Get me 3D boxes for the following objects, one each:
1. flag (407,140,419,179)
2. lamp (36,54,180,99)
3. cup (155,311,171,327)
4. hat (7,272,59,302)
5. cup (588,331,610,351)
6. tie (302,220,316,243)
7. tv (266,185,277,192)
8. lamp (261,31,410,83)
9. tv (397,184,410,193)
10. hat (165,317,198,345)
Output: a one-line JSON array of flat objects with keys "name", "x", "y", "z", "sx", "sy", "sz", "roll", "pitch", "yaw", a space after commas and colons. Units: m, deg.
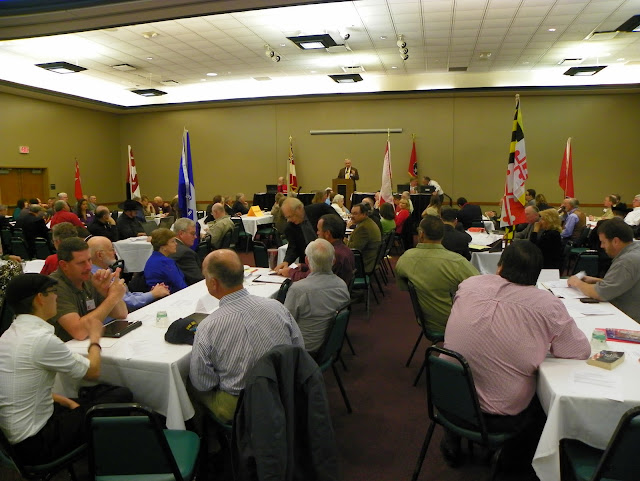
[{"name": "flag", "x": 2.867, "y": -2.522, "z": 13.730, "sx": 0.244, "sy": 1.165, "sz": 0.390, "roll": 1, "pitch": 10, "yaw": 20}, {"name": "lamp", "x": -5.660, "y": -4.315, "z": 11.968, "sx": 1.678, "sy": 0.562, "sz": 3.577, "roll": 2, "pitch": 11, "yaw": 24}, {"name": "cup", "x": -1.157, "y": 0.574, "z": 3.286, "sx": 0.098, "sy": 0.104, "sz": 0.100, "roll": -1, "pitch": -4, "yaw": 0}, {"name": "hat", "x": -1.599, "y": 0.263, "z": 2.479, "sx": 0.125, "sy": 0.095, "sz": 0.183, "roll": 6, "pitch": 34, "yaw": 31}, {"name": "cup", "x": 1.749, "y": 0.630, "z": 2.831, "sx": 0.098, "sy": 0.121, "sz": 0.118, "roll": -3, "pitch": -1, "yaw": 3}, {"name": "tie", "x": -0.140, "y": -0.103, "z": 5.270, "sx": 0.139, "sy": 0.291, "sz": 0.064, "roll": -9, "pitch": -2, "yaw": -1}, {"name": "tv", "x": -1.384, "y": -1.505, "z": 13.048, "sx": 0.329, "sy": 0.267, "sz": 0.240, "roll": 0, "pitch": 2, "yaw": 11}, {"name": "lamp", "x": 0.412, "y": -4.428, "z": 10.829, "sx": 1.699, "sy": 0.436, "sz": 1.668, "roll": -1, "pitch": 4, "yaw": -39}, {"name": "tv", "x": 2.273, "y": -1.365, "z": 12.200, "sx": 0.408, "sy": 0.317, "sz": 0.239, "roll": 0, "pitch": -2, "yaw": 7}, {"name": "hat", "x": -0.939, "y": 0.609, "z": 3.026, "sx": 0.215, "sy": 0.138, "sz": 0.224, "roll": -9, "pitch": 12, "yaw": -31}]
